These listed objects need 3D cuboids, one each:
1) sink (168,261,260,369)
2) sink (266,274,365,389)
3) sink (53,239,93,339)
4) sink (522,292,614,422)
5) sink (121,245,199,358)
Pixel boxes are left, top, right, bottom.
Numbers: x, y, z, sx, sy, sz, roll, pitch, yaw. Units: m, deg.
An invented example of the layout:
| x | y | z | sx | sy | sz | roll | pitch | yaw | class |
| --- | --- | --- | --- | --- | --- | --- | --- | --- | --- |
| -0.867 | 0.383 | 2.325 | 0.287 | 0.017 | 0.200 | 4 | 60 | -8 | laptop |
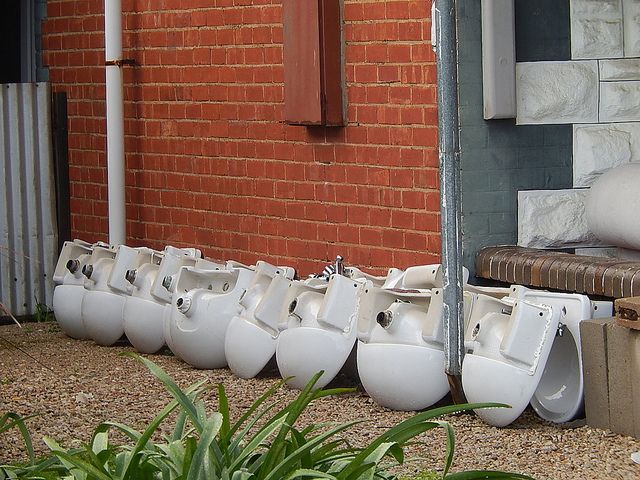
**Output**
| x | y | z | sx | sy | sz | roll | pitch | yaw | class |
| --- | --- | --- | --- | --- | --- | --- | --- | --- | --- |
| -0.717 | 0.469 | 4.246 | 0.484 | 0.825 | 0.490 | 8 | 13 | 40 | sink |
| -0.040 | 0.549 | 3.750 | 0.516 | 0.751 | 0.392 | -1 | -15 | 43 | sink |
| -2.070 | 0.377 | 5.282 | 0.387 | 0.710 | 0.422 | 12 | -11 | -13 | sink |
| 1.304 | 0.626 | 3.316 | 0.376 | 0.764 | 0.472 | 1 | 9 | -2 | sink |
| -1.240 | 0.430 | 4.713 | 0.393 | 0.798 | 0.450 | 3 | -7 | 27 | sink |
